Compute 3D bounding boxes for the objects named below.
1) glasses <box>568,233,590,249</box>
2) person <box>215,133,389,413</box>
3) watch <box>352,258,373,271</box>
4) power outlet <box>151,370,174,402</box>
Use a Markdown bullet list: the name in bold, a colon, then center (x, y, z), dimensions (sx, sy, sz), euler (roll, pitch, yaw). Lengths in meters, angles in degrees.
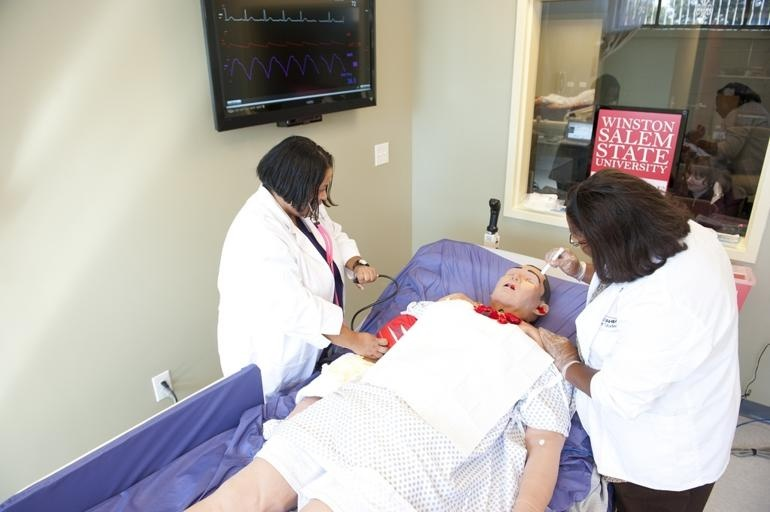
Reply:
- **glasses**: center (0.705, -0.049, 1.898), dimensions (0.064, 0.021, 0.064), euler (-1, 20, -12)
- **person**: center (-0.414, 0.072, 2.379), dimensions (0.722, 1.407, 0.650), euler (5, 38, 2)
- **watch**: center (-0.121, 0.037, 2.614), dimensions (0.069, 0.065, 0.049), euler (12, 48, -32)
- **power outlet**: center (-1.122, 0.644, 2.611), dimensions (0.049, 0.164, 0.117), euler (20, 33, 35)
